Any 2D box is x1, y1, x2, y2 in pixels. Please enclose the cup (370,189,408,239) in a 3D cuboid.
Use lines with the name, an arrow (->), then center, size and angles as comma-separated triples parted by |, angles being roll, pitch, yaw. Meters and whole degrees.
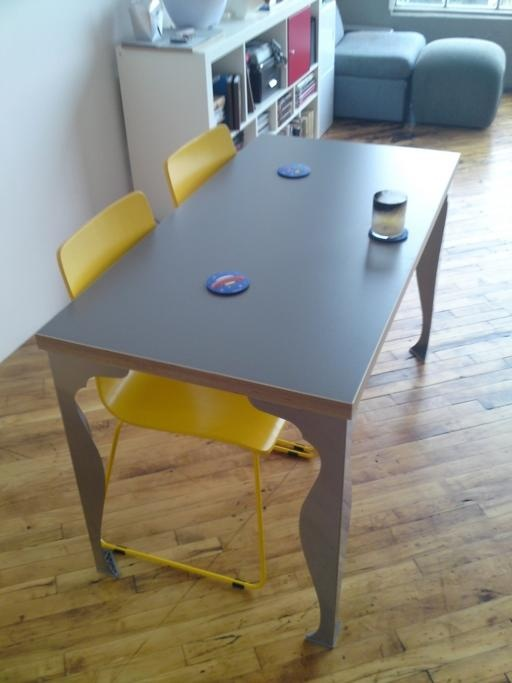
cup -> 0.304, -0.290, 1.259 | 0.084, 0.086, 0.091 | -4, 36, 3

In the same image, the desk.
desk -> 0.087, 0.008, 1.501 | 0.590, 0.694, 1.108 | 12, 39, 18

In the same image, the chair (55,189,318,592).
chair -> -0.149, 0.133, 1.246 | 0.520, 0.876, 0.540 | 11, 43, 11

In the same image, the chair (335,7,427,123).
chair -> 1.008, -2.258, 4.724 | 0.876, 0.899, 0.931 | 6, 35, 12

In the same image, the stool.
stool -> 1.584, -2.033, 4.529 | 0.708, 0.659, 0.746 | 7, 44, 15
